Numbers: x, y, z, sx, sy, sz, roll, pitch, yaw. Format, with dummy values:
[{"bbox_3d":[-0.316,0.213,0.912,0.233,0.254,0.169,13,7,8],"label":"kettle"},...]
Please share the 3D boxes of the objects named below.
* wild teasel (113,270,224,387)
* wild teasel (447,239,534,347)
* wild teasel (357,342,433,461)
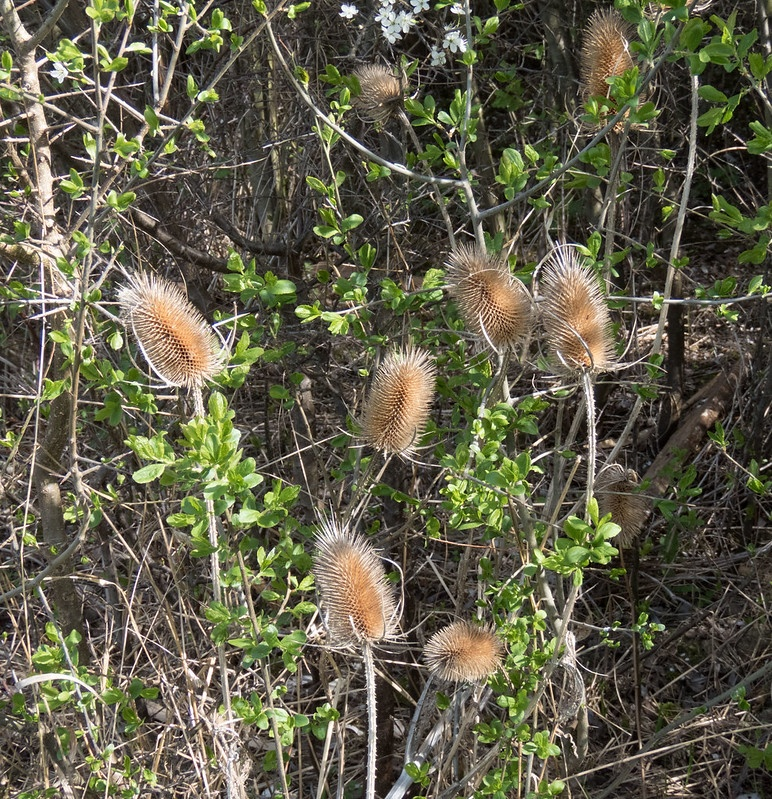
[{"bbox_3d":[-0.592,-0.191,2.729,0.193,0.183,0.346,-32,75,-11],"label":"wild teasel"},{"bbox_3d":[0.290,-0.322,2.872,0.173,0.182,0.340,-33,78,12],"label":"wild teasel"},{"bbox_3d":[0.032,-0.019,2.943,0.188,0.190,0.386,4,91,5],"label":"wild teasel"}]
